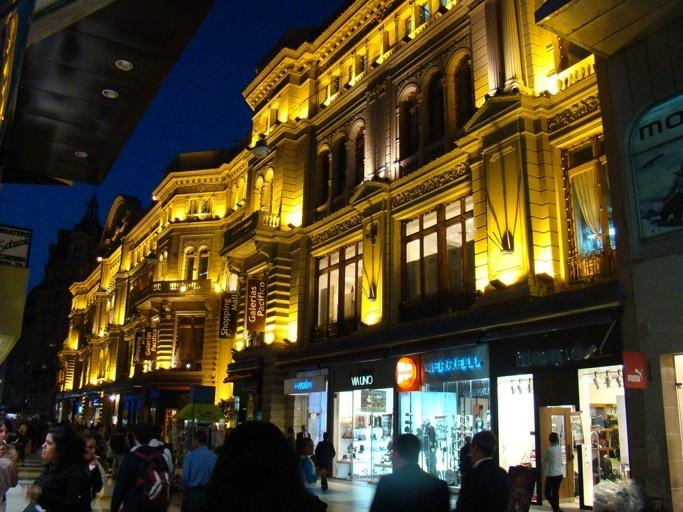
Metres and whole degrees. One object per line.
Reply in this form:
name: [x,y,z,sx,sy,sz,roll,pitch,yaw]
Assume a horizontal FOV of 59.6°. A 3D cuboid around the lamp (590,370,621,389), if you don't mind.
lamp: [6.222,2.887,13.989,0.703,0.420,0.343,-13,-24,32]
